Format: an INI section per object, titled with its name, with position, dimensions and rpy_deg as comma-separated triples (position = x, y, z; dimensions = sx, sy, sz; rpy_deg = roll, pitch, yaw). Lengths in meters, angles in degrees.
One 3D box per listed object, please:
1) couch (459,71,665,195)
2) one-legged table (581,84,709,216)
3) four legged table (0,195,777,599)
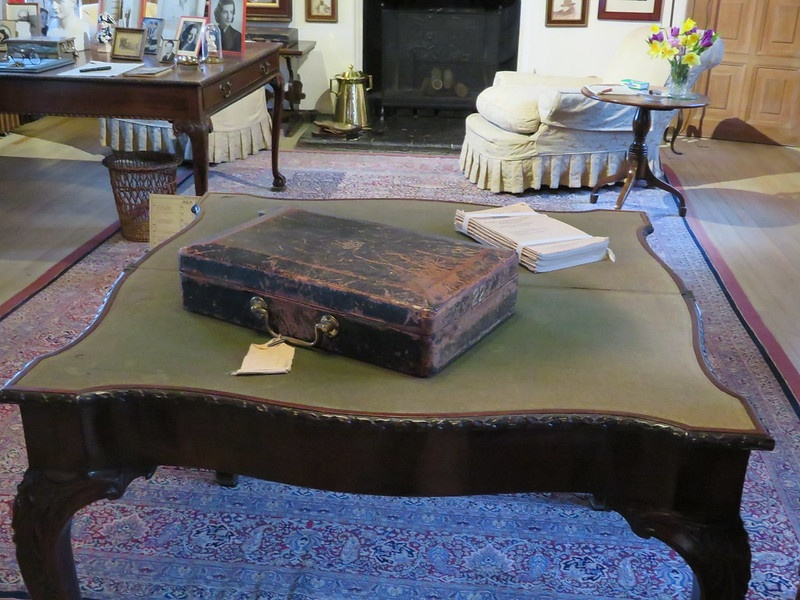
[couch]
position = 0.991, -1.286, 4.878
dimensions = 1.666, 0.693, 1.229
rpy_deg = -12, 20, -33
[one-legged table]
position = 1.549, -0.998, 4.225
dimensions = 1.085, 0.695, 0.839
rpy_deg = 9, 20, 4
[four legged table]
position = 0.040, 0.224, 1.781
dimensions = 1.900, 0.730, 1.137
rpy_deg = 3, 27, 5
